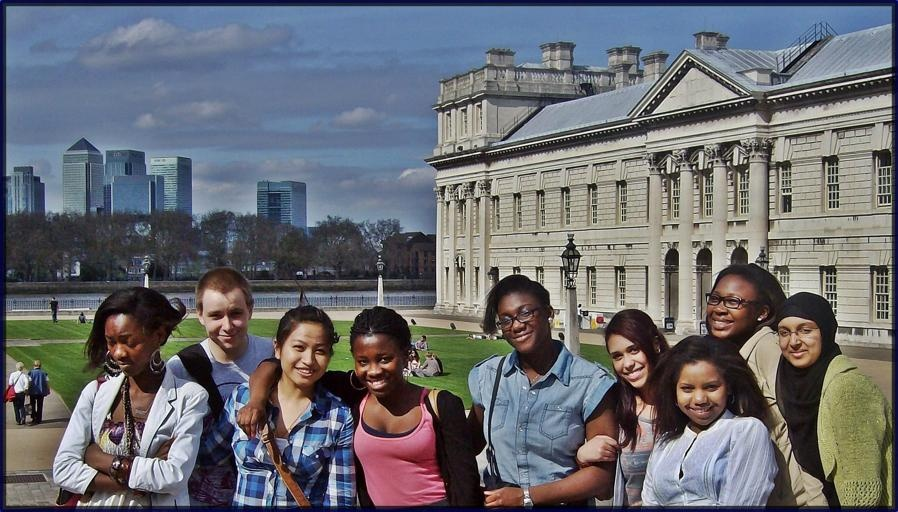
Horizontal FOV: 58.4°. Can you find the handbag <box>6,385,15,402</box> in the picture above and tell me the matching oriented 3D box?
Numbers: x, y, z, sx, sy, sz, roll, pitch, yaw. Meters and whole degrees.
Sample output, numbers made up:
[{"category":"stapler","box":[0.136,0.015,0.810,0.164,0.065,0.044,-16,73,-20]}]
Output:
[{"category":"handbag","box":[-11.330,3.561,21.013,0.179,0.377,0.619,2,-3,-27]}]

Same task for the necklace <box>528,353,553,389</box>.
[{"category":"necklace","box":[1.037,1.300,9.155,0.239,0.119,0.328,-27,16,47]}]

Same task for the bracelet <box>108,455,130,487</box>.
[{"category":"bracelet","box":[-3.561,2.331,8.780,0.188,0.230,0.314,3,-7,8]}]

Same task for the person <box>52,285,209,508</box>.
[{"category":"person","box":[-3.486,1.562,8.978,1.482,2.419,0.520,0,-3,11]}]

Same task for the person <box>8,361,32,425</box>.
[{"category":"person","box":[-11.378,3.640,21.477,0.490,1.568,1.151,2,-3,-28]}]
